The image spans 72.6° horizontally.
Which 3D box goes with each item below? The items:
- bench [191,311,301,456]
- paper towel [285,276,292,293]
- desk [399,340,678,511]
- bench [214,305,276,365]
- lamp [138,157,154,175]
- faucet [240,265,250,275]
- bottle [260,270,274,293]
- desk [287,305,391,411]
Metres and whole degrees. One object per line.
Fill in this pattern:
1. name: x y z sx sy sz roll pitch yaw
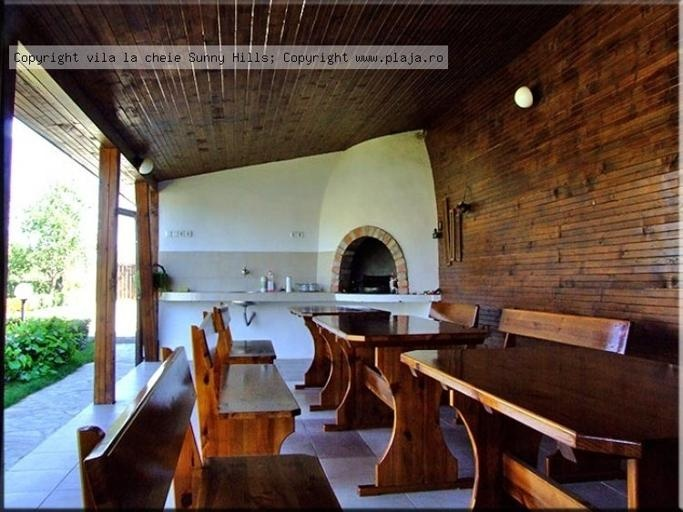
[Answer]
1. bench: -0.736 0.814 3.557 0.625 0.782 1.916 3 2 -13
2. paper towel: -0.965 0.501 8.353 0.108 0.261 0.218 0 -3 -8
3. desk: 0.946 0.893 2.377 0.574 0.524 1.061 1 -6 -11
4. bench: -0.986 0.908 4.939 0.490 0.721 1.239 5 -5 -11
5. lamp: -2.739 -1.209 6.491 0.204 0.263 0.063 23 23 -15
6. faucet: -1.733 0.264 8.322 0.127 0.171 0.084 5 -15 -9
7. bottle: -1.362 0.479 8.329 0.321 0.449 0.162 4 -12 -25
8. desk: 0.013 1.281 5.550 0.849 0.917 1.854 16 -5 -20
